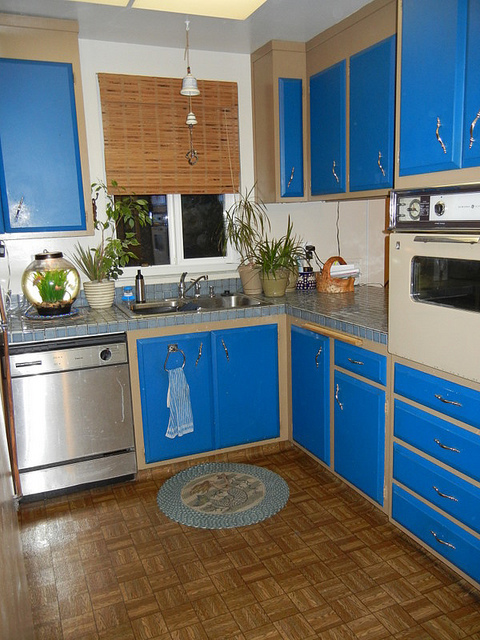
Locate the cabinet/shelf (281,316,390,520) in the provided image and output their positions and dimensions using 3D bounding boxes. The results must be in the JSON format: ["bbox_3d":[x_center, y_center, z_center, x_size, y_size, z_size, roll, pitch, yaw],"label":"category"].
[{"bbox_3d":[0.593,0.414,2.572,0.269,0.803,0.829,-9,15,-24],"label":"cabinet/shelf"}]

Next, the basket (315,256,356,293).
[{"bbox_3d":[0.657,-0.312,3.302,0.261,0.259,0.239,4,5,31],"label":"basket"}]

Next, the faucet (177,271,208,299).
[{"bbox_3d":[-0.310,-0.231,3.183,0.201,0.171,0.266,-3,9,-4],"label":"faucet"}]

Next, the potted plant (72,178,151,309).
[{"bbox_3d":[-0.754,-0.472,3.008,0.515,0.760,0.373,-8,10,-32],"label":"potted plant"}]

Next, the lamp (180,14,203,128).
[{"bbox_3d":[-0.279,-1.382,2.704,0.120,0.531,0.121,0,10,10],"label":"lamp"}]

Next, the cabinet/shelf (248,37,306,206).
[{"bbox_3d":[0.263,-1.285,3.200,0.268,0.992,0.398,-5,9,-15],"label":"cabinet/shelf"}]

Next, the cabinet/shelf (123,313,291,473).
[{"bbox_3d":[-0.208,0.385,2.933,0.915,0.805,0.321,-6,10,-18],"label":"cabinet/shelf"}]

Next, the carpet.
[{"bbox_3d":[-0.088,0.910,2.534,0.693,0.033,0.631,-2,9,4],"label":"carpet"}]
